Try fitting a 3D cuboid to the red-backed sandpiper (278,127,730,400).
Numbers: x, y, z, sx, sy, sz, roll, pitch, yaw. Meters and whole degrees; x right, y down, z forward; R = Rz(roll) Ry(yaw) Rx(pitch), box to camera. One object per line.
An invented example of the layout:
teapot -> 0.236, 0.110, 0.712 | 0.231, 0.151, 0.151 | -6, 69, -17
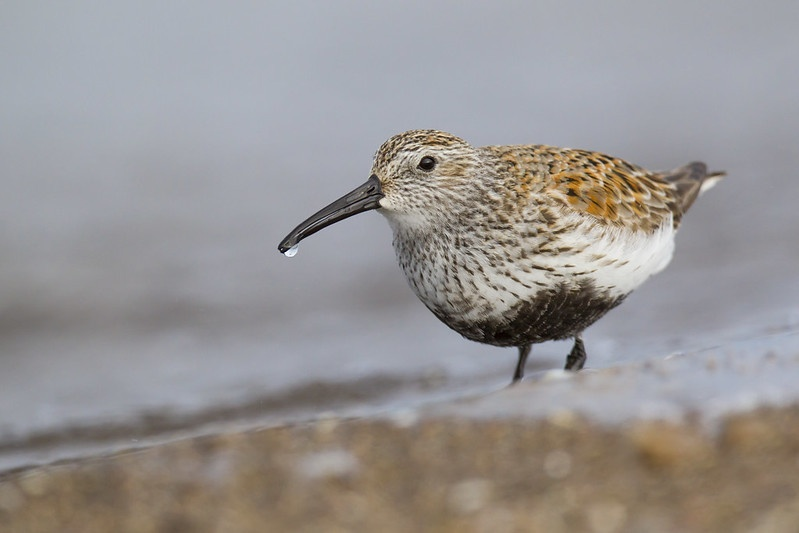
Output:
red-backed sandpiper -> 0.439, -0.121, 3.042 | 1.516, 0.802, 0.403 | -5, -17, -19
